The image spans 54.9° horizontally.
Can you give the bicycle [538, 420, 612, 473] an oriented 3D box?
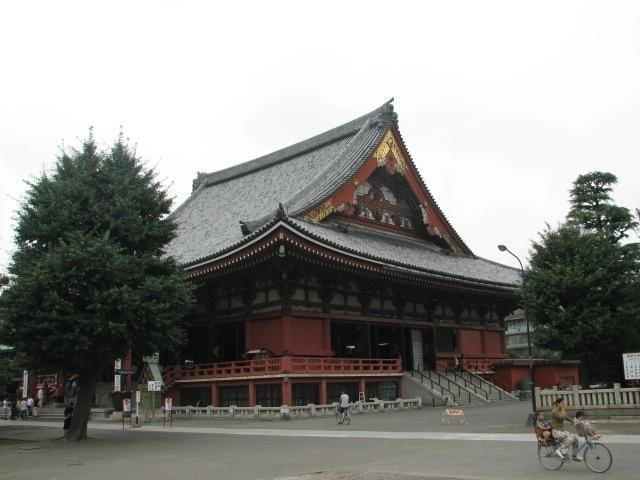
[{"bbox_3d":[6.990,5.764,17.153,1.827,1.347,1.055,-8,-19,21],"label":"bicycle"}]
